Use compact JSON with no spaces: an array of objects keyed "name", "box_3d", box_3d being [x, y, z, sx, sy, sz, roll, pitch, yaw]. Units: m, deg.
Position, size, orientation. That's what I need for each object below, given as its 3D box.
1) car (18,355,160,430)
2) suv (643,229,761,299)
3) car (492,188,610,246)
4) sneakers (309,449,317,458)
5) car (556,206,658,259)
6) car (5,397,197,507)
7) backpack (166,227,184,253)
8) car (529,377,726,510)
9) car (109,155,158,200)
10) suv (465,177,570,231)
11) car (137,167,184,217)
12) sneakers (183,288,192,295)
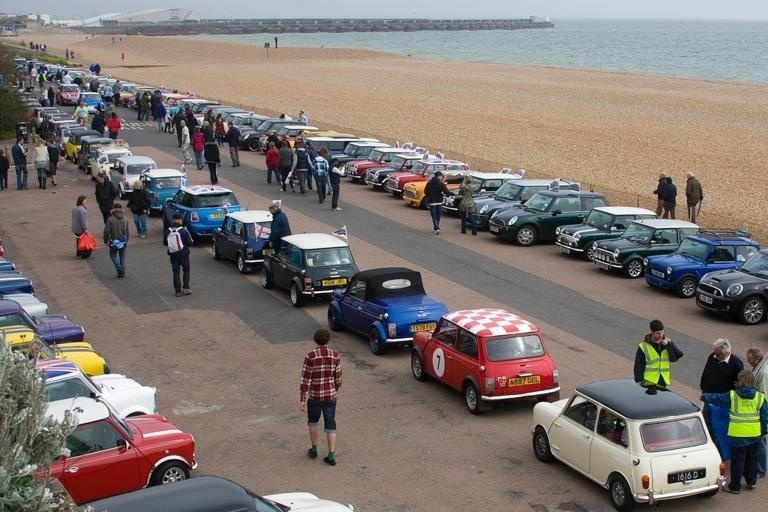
[{"name":"car","box_3d":[-5.589,2.514,16.857,2.410,0.953,1.386,-2,19,-27]},{"name":"suv","box_3d":[9.844,0.129,26.432,3.471,1.596,1.756,-4,13,-18]},{"name":"car","box_3d":[6.013,-1.490,31.487,3.968,1.411,1.918,-4,13,-19]},{"name":"sneakers","box_3d":[-1.428,3.921,17.440,0.140,0.196,0.215,1,20,-13]},{"name":"car","box_3d":[7.554,-0.779,29.624,3.280,1.288,1.661,-5,13,-17]},{"name":"car","box_3d":[-5.082,3.398,15.882,3.008,1.220,1.718,-8,23,-29]},{"name":"backpack","box_3d":[-6.050,-0.456,25.211,0.412,0.696,0.496,-11,21,-32]},{"name":"car","box_3d":[4.431,3.363,16.718,1.940,1.350,3.206,-6,16,-25]},{"name":"car","box_3d":[-10.189,-3.277,35.442,1.426,0.974,2.307,-10,23,-28]},{"name":"suv","box_3d":[5.147,-2.039,33.197,3.483,1.297,1.892,-4,11,-20]},{"name":"car","box_3d":[-8.352,-2.465,33.002,1.390,0.973,2.240,-6,22,-20]},{"name":"sneakers","box_3d":[-5.752,1.012,25.430,0.261,0.095,0.121,-9,59,-7]}]
